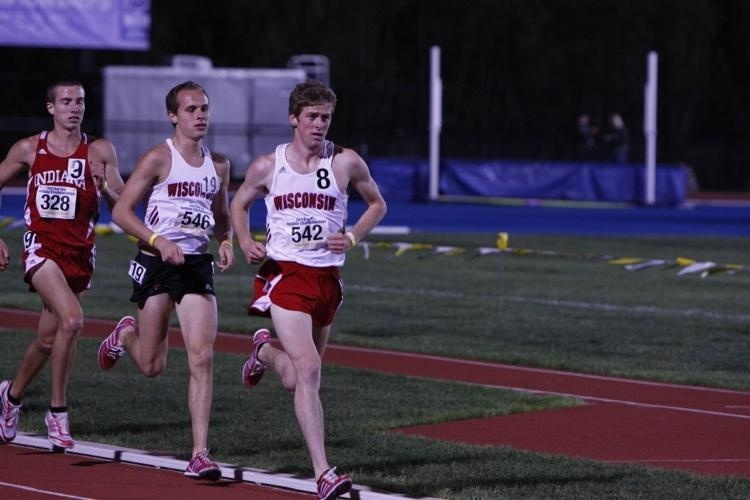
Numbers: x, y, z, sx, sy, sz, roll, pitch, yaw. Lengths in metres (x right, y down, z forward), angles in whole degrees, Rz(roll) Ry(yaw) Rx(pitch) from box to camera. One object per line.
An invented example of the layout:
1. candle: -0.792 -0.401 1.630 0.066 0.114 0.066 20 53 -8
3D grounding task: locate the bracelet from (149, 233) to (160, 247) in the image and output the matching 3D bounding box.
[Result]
1. bracelet: -1.712 -0.085 7.367 0.023 0.085 0.085 36 49 5

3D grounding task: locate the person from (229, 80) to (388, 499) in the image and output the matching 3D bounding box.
1. person: -0.436 0.211 7.274 0.900 2.967 1.250 -6 11 -30

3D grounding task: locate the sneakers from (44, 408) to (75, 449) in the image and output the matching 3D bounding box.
1. sneakers: -2.558 1.453 7.751 0.184 0.304 0.292 -5 11 -27

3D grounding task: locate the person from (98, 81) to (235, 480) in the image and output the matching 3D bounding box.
1. person: -1.586 0.193 7.549 1.030 3.016 1.415 -3 10 -20

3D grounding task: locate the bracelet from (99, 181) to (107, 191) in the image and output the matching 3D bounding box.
1. bracelet: -2.226 -0.537 7.807 0.078 0.077 0.030 0 -3 -20

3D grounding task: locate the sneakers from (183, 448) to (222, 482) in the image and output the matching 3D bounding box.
1. sneakers: -1.289 1.631 7.155 0.141 0.190 0.361 8 -13 -40
